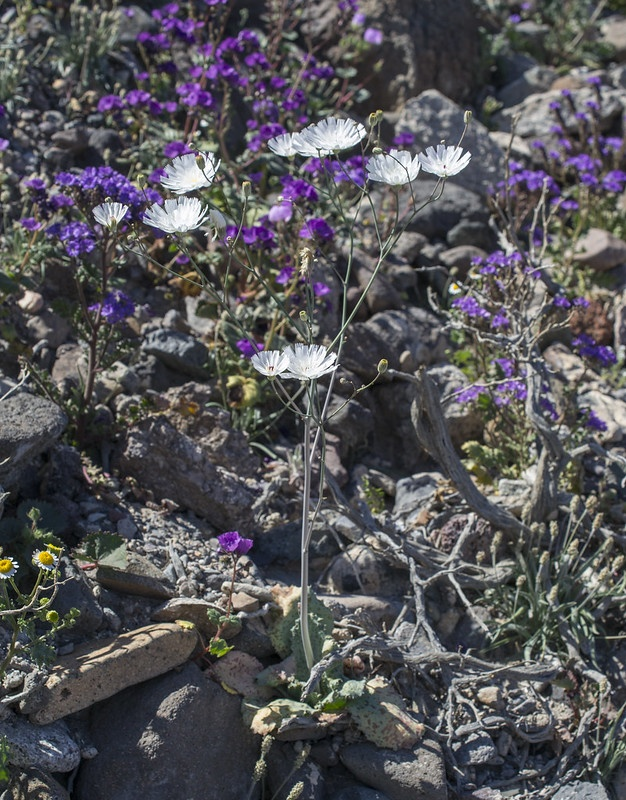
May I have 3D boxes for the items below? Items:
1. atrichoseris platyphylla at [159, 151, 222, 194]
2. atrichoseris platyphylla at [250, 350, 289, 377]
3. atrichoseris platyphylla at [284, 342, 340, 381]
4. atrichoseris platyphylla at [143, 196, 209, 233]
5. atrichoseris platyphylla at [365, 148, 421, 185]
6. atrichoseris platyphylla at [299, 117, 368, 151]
[{"bbox_3d":[-0.459,-0.870,3.950,0.198,0.083,0.184,-10,64,4],"label":"atrichoseris platyphylla"},{"bbox_3d":[-0.159,-0.121,3.887,0.114,0.050,0.106,13,51,4],"label":"atrichoseris platyphylla"},{"bbox_3d":[-0.004,-0.128,3.852,0.192,0.166,0.225,-3,25,1],"label":"atrichoseris platyphylla"},{"bbox_3d":[-0.518,-0.664,3.977,0.186,0.077,0.182,13,52,18],"label":"atrichoseris platyphylla"},{"bbox_3d":[0.306,-0.875,3.985,0.182,0.094,0.177,-6,40,-7],"label":"atrichoseris platyphylla"},{"bbox_3d":[0.077,-0.992,3.950,0.234,0.125,0.232,-3,24,-1],"label":"atrichoseris platyphylla"}]
